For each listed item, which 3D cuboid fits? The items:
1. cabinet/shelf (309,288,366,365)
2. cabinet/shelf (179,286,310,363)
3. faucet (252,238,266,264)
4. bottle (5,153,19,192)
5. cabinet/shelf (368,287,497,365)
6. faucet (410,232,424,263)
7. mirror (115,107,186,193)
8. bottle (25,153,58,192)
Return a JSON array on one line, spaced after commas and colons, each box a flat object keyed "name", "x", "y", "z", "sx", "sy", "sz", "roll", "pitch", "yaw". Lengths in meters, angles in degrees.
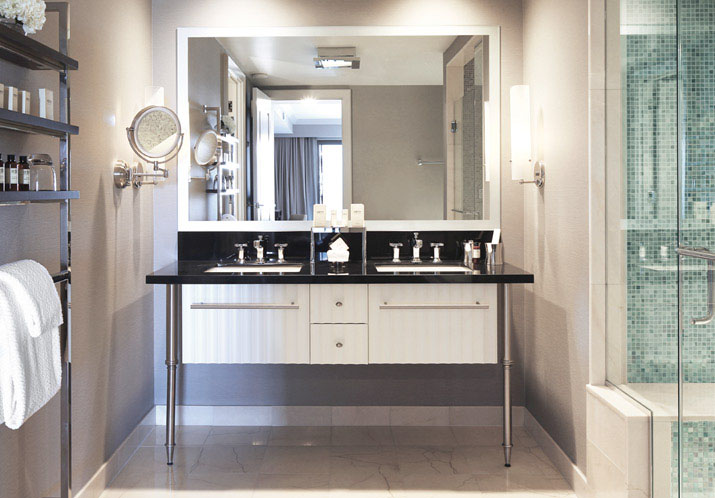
[{"name": "cabinet/shelf", "x": -0.111, "y": 0.412, "z": 3.583, "sx": 0.412, "sy": 0.570, "sz": 0.299, "roll": 0, "pitch": -1, "yaw": -1}, {"name": "cabinet/shelf", "x": -0.684, "y": 0.397, "z": 3.797, "sx": 0.741, "sy": 0.455, "sz": 0.493, "roll": 2, "pitch": 11, "yaw": -26}, {"name": "faucet", "x": -0.626, "y": 0.002, "z": 4.074, "sx": 0.071, "sy": 0.163, "sz": 0.165, "roll": -2, "pitch": 4, "yaw": -9}, {"name": "bottle", "x": -1.460, "y": -0.321, "z": 2.697, "sx": 0.050, "sy": 0.152, "sz": 0.123, "roll": -3, "pitch": 5, "yaw": -23}, {"name": "cabinet/shelf", "x": 0.367, "y": 0.500, "z": 3.845, "sx": 0.794, "sy": 0.463, "sz": 0.560, "roll": 2, "pitch": -12, "yaw": -15}, {"name": "faucet", "x": 0.387, "y": -0.011, "z": 4.096, "sx": 0.066, "sy": 0.186, "sz": 0.115, "roll": -1, "pitch": 4, "yaw": 5}, {"name": "mirror", "x": -1.242, "y": -0.600, "z": 3.803, "sx": 0.388, "sy": 0.479, "sz": 0.345, "roll": -3, "pitch": 5, "yaw": -16}, {"name": "bottle", "x": -1.450, "y": -0.347, "z": 2.924, "sx": 0.120, "sy": 0.169, "sz": 0.113, "roll": -4, "pitch": 4, "yaw": 0}]
